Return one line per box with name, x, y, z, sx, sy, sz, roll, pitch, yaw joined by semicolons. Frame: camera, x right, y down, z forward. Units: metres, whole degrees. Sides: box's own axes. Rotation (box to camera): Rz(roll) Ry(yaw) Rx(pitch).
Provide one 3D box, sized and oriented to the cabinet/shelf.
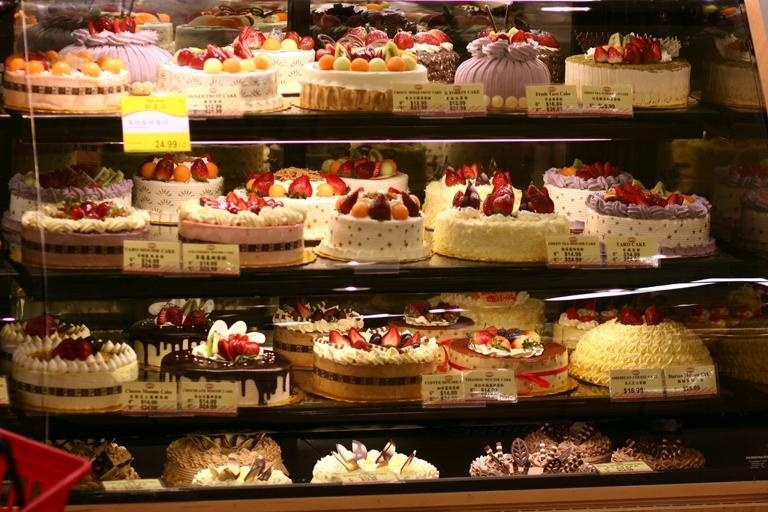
cabinet/shelf;0.023;-0.016;2.977;3.378;2.055;1.529;-5;25;-7
